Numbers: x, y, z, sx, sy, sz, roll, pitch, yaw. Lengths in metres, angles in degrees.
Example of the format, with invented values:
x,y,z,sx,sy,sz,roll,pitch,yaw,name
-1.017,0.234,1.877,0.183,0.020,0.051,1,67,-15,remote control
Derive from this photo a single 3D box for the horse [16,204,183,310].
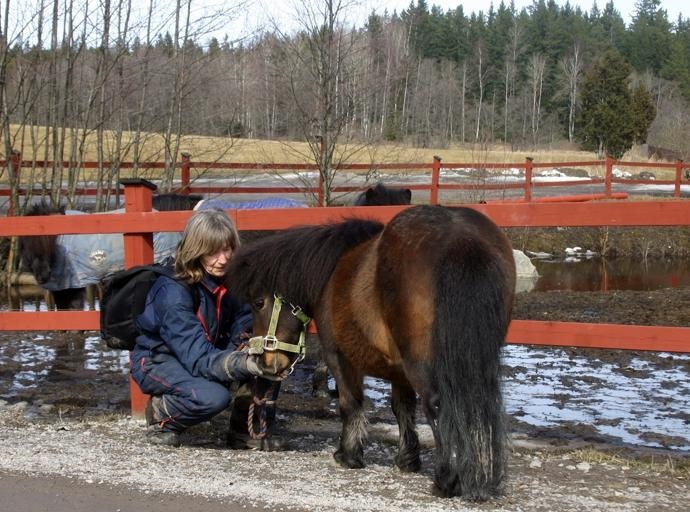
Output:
x,y,z,sx,sy,sz,roll,pitch,yaw,name
-3.017,0.352,13.185,2.978,1.895,0.852,-4,-8,25,horse

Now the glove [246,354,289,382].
x,y,z,sx,sy,sz,roll,pitch,yaw,name
-0.764,1.113,9.426,0.343,0.130,0.250,24,-11,-29,glove

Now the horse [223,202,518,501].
x,y,z,sx,sy,sz,roll,pitch,yaw,name
0.228,0.910,9.173,1.011,1.957,2.809,-4,3,-44,horse
